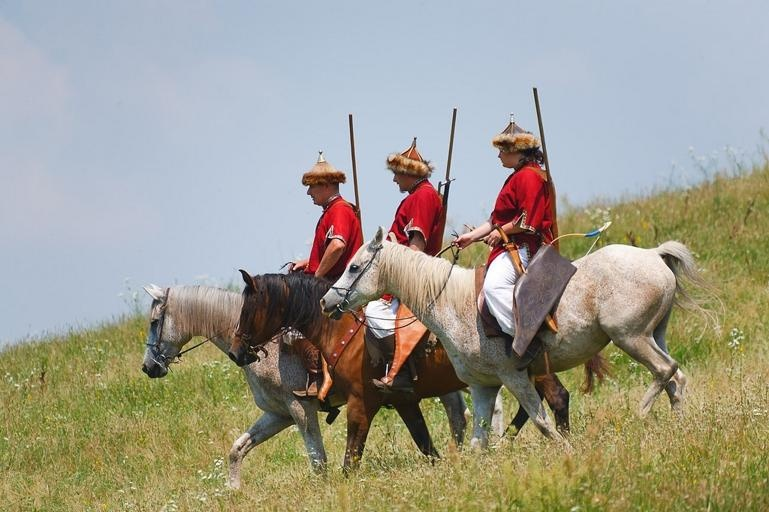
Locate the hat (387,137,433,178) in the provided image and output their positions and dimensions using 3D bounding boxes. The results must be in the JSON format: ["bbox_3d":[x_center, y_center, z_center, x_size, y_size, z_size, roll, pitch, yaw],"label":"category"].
[{"bbox_3d":[0.512,-1.717,19.898,0.582,0.543,0.625,12,23,24],"label":"hat"}]

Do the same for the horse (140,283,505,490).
[{"bbox_3d":[-0.854,1.956,20.305,6.078,4.192,1.518,-9,14,-5],"label":"horse"}]

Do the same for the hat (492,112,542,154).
[{"bbox_3d":[2.083,-1.994,19.028,0.631,0.382,0.648,-8,12,-21],"label":"hat"}]
